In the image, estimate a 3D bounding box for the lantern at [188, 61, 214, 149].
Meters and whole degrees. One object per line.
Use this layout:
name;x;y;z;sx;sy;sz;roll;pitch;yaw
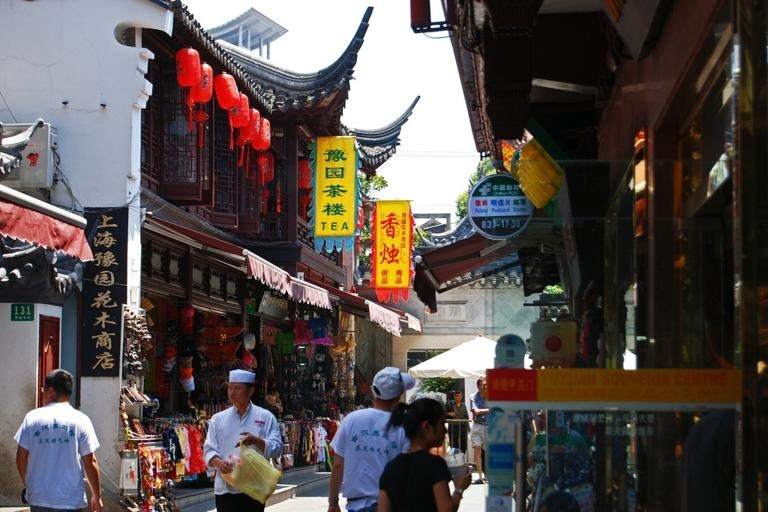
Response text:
lantern;-2.491;-2.184;16.961;0.372;1.345;0.383;8;-3;-24

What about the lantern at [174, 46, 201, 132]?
lantern;-2.676;-2.337;16.735;0.302;1.238;0.315;8;-1;12

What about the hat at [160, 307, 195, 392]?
hat;-3.172;1.364;18.892;0.478;1.301;0.696;0;4;-10

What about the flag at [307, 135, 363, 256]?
flag;-0.865;-1.093;21.105;0.754;1.901;0.754;0;4;-6

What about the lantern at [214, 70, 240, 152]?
lantern;-2.281;-2.399;17.744;0.349;0.511;0.463;1;4;1
